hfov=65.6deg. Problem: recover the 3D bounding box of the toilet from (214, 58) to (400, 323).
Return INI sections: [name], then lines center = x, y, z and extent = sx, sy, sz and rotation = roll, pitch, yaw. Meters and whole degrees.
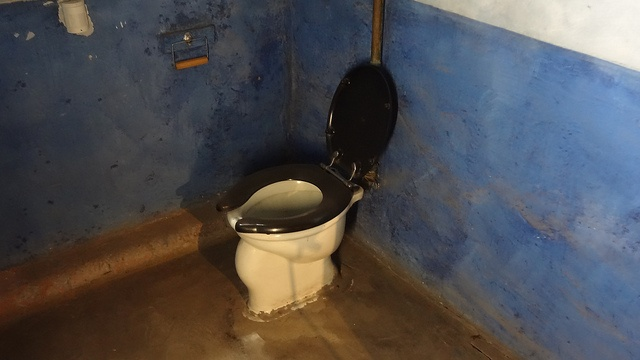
[toilet]
center = -0.113, 0.076, 2.759
extent = 0.982, 1.301, 0.599
rotation = -18, 35, -26
